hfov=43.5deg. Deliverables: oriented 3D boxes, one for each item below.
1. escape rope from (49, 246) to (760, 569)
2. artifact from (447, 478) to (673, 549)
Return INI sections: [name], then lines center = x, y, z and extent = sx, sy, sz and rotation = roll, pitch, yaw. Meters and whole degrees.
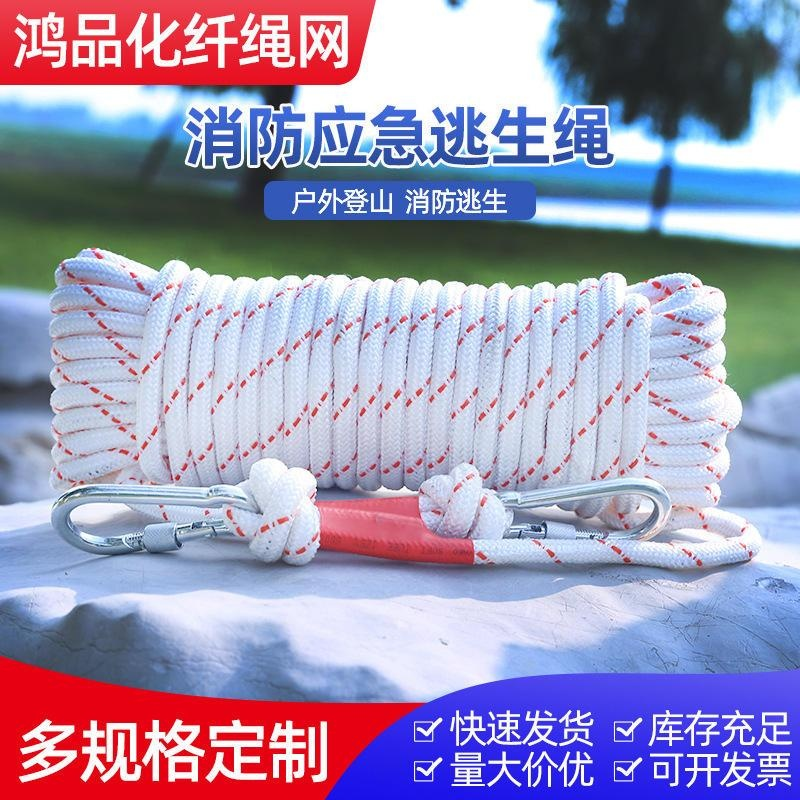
[escape rope]
center = -0.026, 0.006, 2.325
extent = 1.816, 0.538, 0.635
rotation = 2, 7, 0
[artifact]
center = 0.370, 0.225, 2.090
extent = 0.396, 0.038, 0.119
rotation = -12, 31, 19
